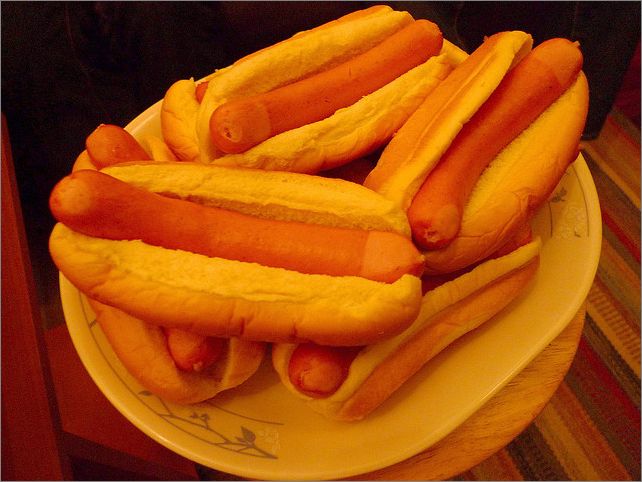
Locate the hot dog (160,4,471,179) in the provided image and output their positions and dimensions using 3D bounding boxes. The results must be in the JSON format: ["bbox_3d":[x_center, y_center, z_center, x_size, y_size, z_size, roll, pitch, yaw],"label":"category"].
[{"bbox_3d":[0.032,-0.305,1.510,0.767,0.257,0.395,-31,38,-26],"label":"hot dog"}]

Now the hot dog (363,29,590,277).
[{"bbox_3d":[0.395,-0.192,1.444,0.353,0.229,0.681,25,60,26],"label":"hot dog"}]

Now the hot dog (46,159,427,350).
[{"bbox_3d":[-0.177,0.017,1.271,0.731,0.264,0.357,9,55,-1],"label":"hot dog"}]

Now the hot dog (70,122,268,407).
[{"bbox_3d":[-0.398,0.098,1.410,0.331,0.198,0.670,-28,97,-18],"label":"hot dog"}]

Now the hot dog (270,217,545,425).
[{"bbox_3d":[0.256,0.194,1.472,0.642,0.206,0.307,-36,20,-10],"label":"hot dog"}]
